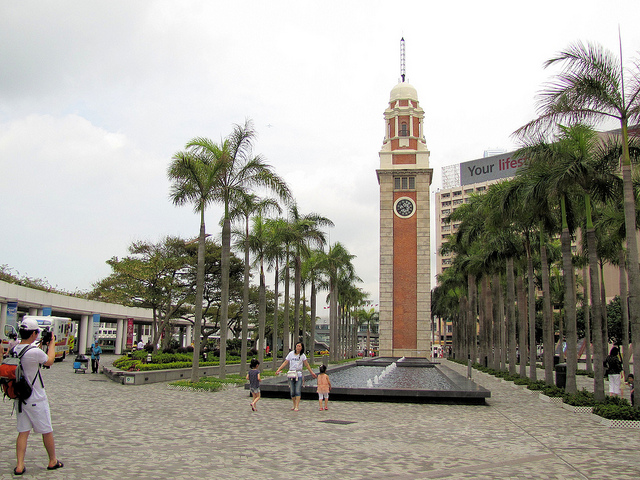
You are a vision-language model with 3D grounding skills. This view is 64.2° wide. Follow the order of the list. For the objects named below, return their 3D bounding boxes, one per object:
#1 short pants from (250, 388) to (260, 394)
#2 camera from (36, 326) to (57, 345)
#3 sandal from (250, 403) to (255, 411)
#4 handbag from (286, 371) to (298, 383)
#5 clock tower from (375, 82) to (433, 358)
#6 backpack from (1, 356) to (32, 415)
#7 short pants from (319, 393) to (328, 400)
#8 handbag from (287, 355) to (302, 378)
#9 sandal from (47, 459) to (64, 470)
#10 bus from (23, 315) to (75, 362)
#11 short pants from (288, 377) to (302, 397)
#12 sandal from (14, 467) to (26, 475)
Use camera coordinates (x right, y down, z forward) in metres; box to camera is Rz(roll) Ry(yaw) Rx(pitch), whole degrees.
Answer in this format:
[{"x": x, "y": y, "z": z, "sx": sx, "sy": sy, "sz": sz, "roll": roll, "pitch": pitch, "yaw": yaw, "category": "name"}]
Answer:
[{"x": -2.310, "y": 5.323, "z": 18.012, "sx": 0.310, "sy": 0.189, "sz": 0.295, "roll": -1, "pitch": -15, "yaw": 3, "category": "short pants"}, {"x": -5.596, "y": 1.954, "z": 10.470, "sx": 0.233, "sy": 0.336, "sz": 0.128, "roll": 6, "pitch": -5, "yaw": 1, "category": "camera"}, {"x": -2.289, "y": 5.684, "z": 17.349, "sx": 0.126, "sy": 0.326, "sz": 0.104, "roll": 3, "pitch": 19, "yaw": 37, "category": "sandal"}, {"x": -0.967, "y": 4.739, "z": 17.782, "sx": 0.410, "sy": 0.434, "sz": 0.327, "roll": 0, "pitch": -10, "yaw": 2, "category": "handbag"}, {"x": 10.328, "y": -3.559, "z": 62.177, "sx": 5.779, "sy": 34.762, "sz": 2.322, "roll": -2, "pitch": -13, "yaw": 11, "category": "clock tower"}, {"x": -5.876, "y": 2.767, "z": 9.743, "sx": 0.623, "sy": 1.081, "sz": 0.323, "roll": -1, "pitch": -13, "yaw": 5, "category": "backpack"}, {"x": 0.142, "y": 5.438, "z": 17.804, "sx": 0.357, "sy": 0.190, "sz": 0.224, "roll": 5, "pitch": -15, "yaw": -17, "category": "short pants"}, {"x": -0.857, "y": 4.389, "z": 17.800, "sx": 0.455, "sy": 0.825, "sz": 0.314, "roll": 4, "pitch": -6, "yaw": 20, "category": "handbag"}, {"x": -5.253, "y": 4.464, "z": 10.137, "sx": 0.111, "sy": 0.120, "sz": 0.267, "roll": 0, "pitch": -6, "yaw": 16, "category": "sandal"}, {"x": -23.899, "y": 8.691, "z": 44.493, "sx": 2.226, "sy": 3.949, "sz": 7.359, "roll": 2, "pitch": -12, "yaw": -11, "category": "bus"}, {"x": -0.838, "y": 5.093, "z": 17.667, "sx": 0.439, "sy": 0.651, "sz": 0.324, "roll": 1, "pitch": -14, "yaw": -1, "category": "short pants"}, {"x": -5.801, "y": 4.450, "z": 9.837, "sx": 0.113, "sy": 0.104, "sz": 0.332, "roll": 4, "pitch": -22, "yaw": -8, "category": "sandal"}]
